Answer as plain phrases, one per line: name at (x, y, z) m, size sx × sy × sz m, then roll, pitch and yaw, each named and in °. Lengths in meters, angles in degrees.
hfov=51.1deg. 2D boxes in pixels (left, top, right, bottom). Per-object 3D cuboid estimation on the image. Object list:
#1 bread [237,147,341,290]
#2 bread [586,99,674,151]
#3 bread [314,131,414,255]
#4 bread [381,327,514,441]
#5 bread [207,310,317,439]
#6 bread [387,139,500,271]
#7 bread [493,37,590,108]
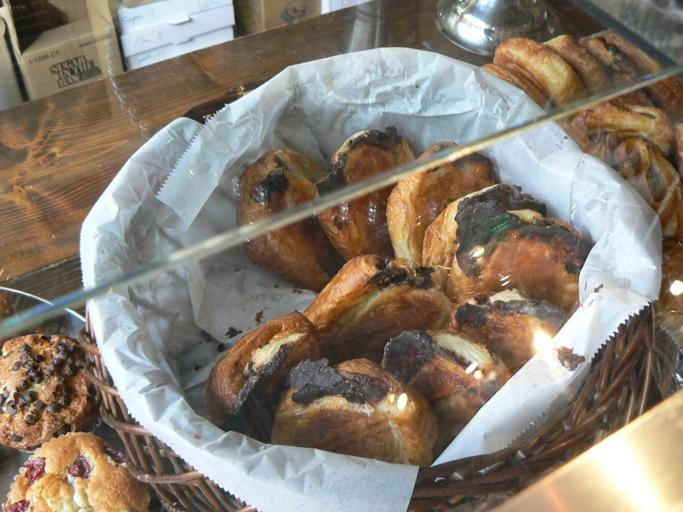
bread at (-0.029, -0.025, 0.579) m, size 0.103 × 0.079 × 0.042 m, roll 51°, pitch 3°, yaw 6°
bread at (0.257, -0.118, 0.628) m, size 0.060 × 0.048 × 0.024 m, roll 30°, pitch 46°, yaw -2°
bread at (0.019, -0.053, 0.583) m, size 0.075 × 0.108 × 0.028 m, roll -3°, pitch 2°, yaw -11°
bread at (0.080, 0.093, 0.554) m, size 0.088 × 0.079 × 0.031 m, roll -3°, pitch 14°, yaw -6°
bread at (-0.059, 0.091, 0.541) m, size 0.095 × 0.037 × 0.079 m, roll -33°, pitch 72°, yaw 6°
bread at (0.076, -0.048, 0.580) m, size 0.080 × 0.099 × 0.034 m, roll 25°, pitch 6°, yaw -24°
bread at (0.193, -0.182, 0.680) m, size 0.086 × 0.029 × 0.086 m, roll 47°, pitch 18°, yaw 22°
